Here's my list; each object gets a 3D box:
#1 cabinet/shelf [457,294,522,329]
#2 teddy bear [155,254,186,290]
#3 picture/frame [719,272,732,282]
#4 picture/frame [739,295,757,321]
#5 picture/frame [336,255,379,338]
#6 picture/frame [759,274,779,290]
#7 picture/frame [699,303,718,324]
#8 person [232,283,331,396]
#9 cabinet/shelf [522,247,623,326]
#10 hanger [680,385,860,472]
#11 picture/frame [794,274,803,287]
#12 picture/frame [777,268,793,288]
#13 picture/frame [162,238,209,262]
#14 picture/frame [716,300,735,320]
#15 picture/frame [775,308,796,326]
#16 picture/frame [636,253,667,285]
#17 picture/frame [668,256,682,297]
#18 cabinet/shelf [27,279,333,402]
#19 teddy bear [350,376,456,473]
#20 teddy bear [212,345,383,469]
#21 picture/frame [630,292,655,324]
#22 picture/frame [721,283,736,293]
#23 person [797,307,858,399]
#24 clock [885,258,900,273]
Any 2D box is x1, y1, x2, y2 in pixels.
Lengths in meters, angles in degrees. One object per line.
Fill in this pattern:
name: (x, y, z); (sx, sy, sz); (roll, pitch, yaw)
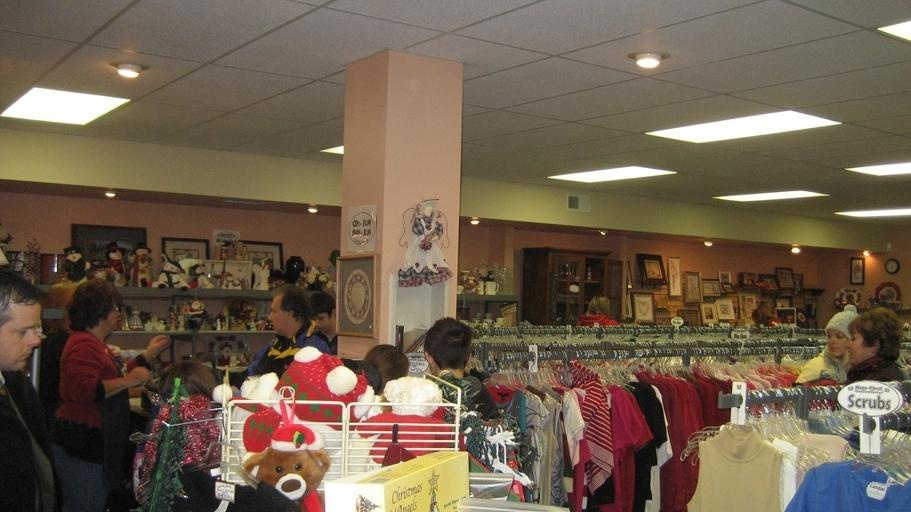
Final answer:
cabinet/shelf: (0.528, 0.830, 10.537); (1.134, 0.639, 0.578); (0, -4, 1)
teddy bear: (-3.720, 0.216, 8.393); (0.418, 0.464, 0.351); (6, 9, -7)
picture/frame: (5.488, 0.431, 12.994); (0.189, 0.171, 0.018); (12, -8, -25)
picture/frame: (6.055, 1.083, 13.254); (0.589, 0.663, 0.071); (4, -4, -26)
picture/frame: (-0.889, 0.354, 5.685); (0.165, 0.702, 0.538); (8, -7, -36)
picture/frame: (6.607, 0.530, 13.472); (0.568, 0.314, 0.081); (6, -6, -32)
picture/frame: (5.038, 1.160, 12.727); (0.382, 0.343, 0.035); (-21, -1, -29)
person: (-1.580, 0.804, 5.833); (0.925, 1.042, 1.319); (-6, 15, -20)
cabinet/shelf: (1.954, 0.542, 10.984); (1.677, 1.291, 0.846); (3, -6, 3)
hanger: (2.134, 1.067, 4.359); (0.826, 0.459, 1.101); (0, -6, 30)
picture/frame: (7.486, 0.534, 13.888); (0.332, 0.321, 0.064); (7, -7, -38)
picture/frame: (7.039, 0.475, 13.656); (0.437, 0.396, 0.033); (-8, -1, -21)
picture/frame: (-3.751, -0.074, 8.777); (0.381, 0.280, 0.028); (0, -1, -32)
picture/frame: (5.437, 1.091, 12.898); (0.415, 0.365, 0.030); (9, -18, -33)
picture/frame: (6.875, 1.265, 13.302); (0.656, 0.478, 0.061); (0, 0, -17)
picture/frame: (3.672, 0.257, 12.050); (0.633, 0.603, 0.092); (5, -13, -32)
picture/frame: (4.268, 0.401, 12.428); (0.424, 0.746, 0.070); (7, -7, -35)
cabinet/shelf: (-2.268, 0.809, 5.753); (2.544, 1.141, 1.144); (-3, -1, -17)
teddy bear: (-0.273, 0.867, 3.224); (0.379, 0.227, 0.705); (13, -28, -7)
teddy bear: (-0.729, 0.759, 3.268); (0.834, 0.575, 0.342); (-13, -44, -22)
picture/frame: (3.464, 0.980, 11.896); (0.672, 0.645, 0.102); (0, -11, -35)
picture/frame: (5.563, 0.653, 13.018); (0.244, 0.207, 0.109); (-3, -2, -14)
person: (3.183, 0.873, 5.405); (0.601, 0.733, 0.244); (1, 16, 8)
clock: (8.943, 0.200, 13.026); (0.088, 0.256, 0.277); (9, 9, -27)
